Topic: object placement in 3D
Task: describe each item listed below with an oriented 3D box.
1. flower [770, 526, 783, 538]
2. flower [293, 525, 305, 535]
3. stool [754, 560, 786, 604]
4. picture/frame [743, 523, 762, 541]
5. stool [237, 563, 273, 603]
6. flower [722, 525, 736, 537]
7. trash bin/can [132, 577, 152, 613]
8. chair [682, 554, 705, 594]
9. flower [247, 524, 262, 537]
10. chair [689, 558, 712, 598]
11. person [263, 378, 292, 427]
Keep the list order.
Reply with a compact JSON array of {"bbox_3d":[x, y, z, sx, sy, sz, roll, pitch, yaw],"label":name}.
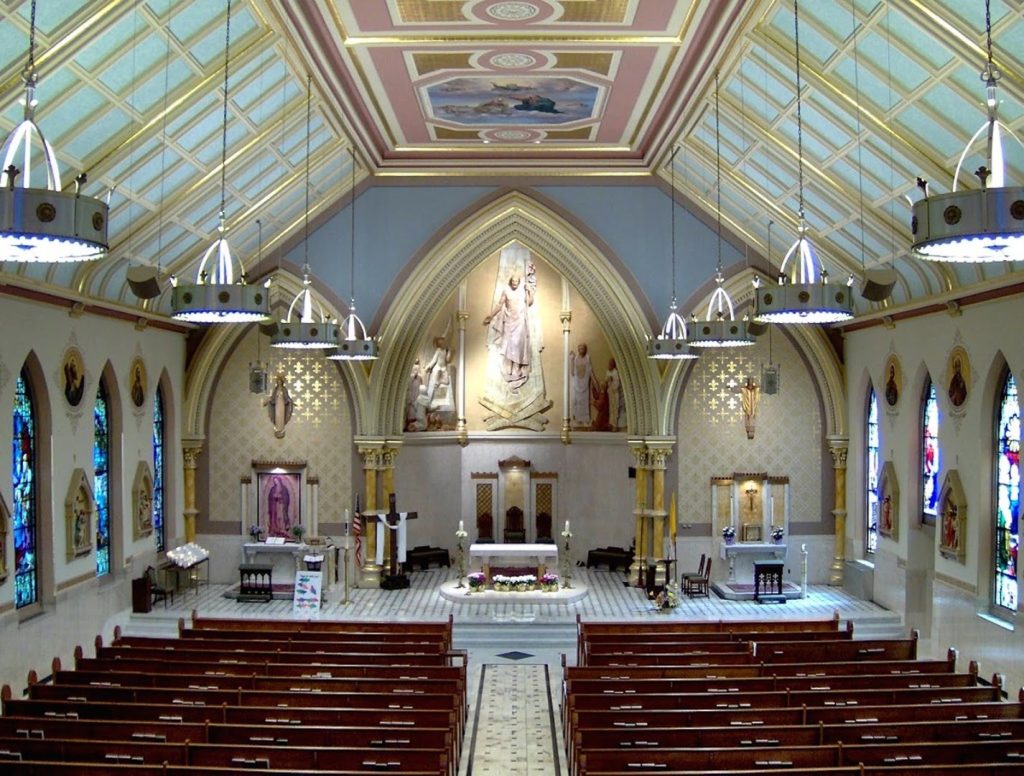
[{"bbox_3d":[7.936,4.359,28.711,0.231,0.429,0.384,-9,11,-35],"label":"flower"},{"bbox_3d":[-6.179,4.133,27.732,0.230,0.285,0.257,-1,0,0],"label":"flower"},{"bbox_3d":[7.297,5.596,27.273,0.943,1.314,1.042,0,-4,-9],"label":"stool"},{"bbox_3d":[7.324,4.421,29.255,0.587,0.728,0.382,2,3,6],"label":"picture/frame"},{"bbox_3d":[-7.360,5.695,27.676,1.033,1.291,0.969,2,7,-1],"label":"stool"},{"bbox_3d":[6.529,4.386,28.943,0.333,0.362,0.627,3,7,29],"label":"flower"},{"bbox_3d":[-9.796,5.524,25.233,0.445,0.919,0.263,-3,6,-25],"label":"trash bin/can"},{"bbox_3d":[5.365,5.524,28.280,0.371,0.899,0.997,1,-3,2],"label":"chair"},{"bbox_3d":[-7.670,4.311,28.588,0.451,0.524,0.287,2,-4,-23],"label":"flower"},{"bbox_3d":[5.526,5.608,27.982,0.374,1.033,0.996,1,-3,3],"label":"chair"},{"bbox_3d":[-7.076,0.440,29.420,0.787,1.478,0.476,1,-5,-1],"label":"person"}]
